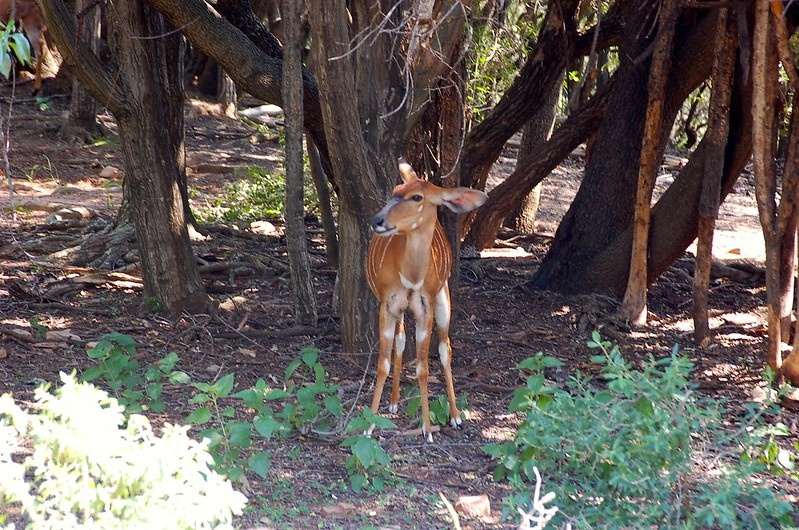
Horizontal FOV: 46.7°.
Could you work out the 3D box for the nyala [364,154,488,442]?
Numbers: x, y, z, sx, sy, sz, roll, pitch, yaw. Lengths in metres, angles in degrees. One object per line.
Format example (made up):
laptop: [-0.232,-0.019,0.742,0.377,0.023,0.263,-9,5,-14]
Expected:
nyala: [0.157,0.377,7.720,0.867,2.177,0.641,3,7,-3]
